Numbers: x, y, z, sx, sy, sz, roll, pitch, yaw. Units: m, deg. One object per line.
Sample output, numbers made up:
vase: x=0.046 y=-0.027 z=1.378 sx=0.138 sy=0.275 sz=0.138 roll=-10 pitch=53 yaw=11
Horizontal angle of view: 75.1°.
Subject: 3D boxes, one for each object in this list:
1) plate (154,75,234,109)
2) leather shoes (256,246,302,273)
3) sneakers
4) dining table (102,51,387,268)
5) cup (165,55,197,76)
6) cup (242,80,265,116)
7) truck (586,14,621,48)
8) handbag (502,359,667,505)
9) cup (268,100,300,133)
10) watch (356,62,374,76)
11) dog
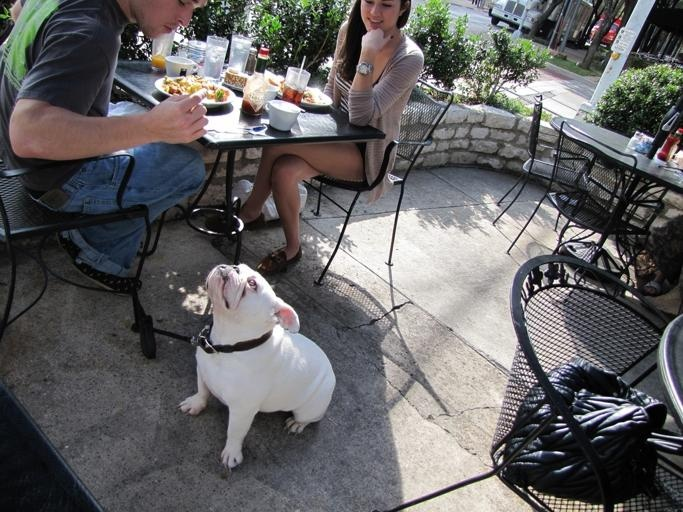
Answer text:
plate: x=-0.844 y=-0.957 z=2.551 sx=0.389 sy=0.068 sz=0.404 roll=-2 pitch=39 yaw=-22
leather shoes: x=-0.473 y=0.042 z=3.355 sx=0.138 sy=0.150 sz=0.370 roll=37 pitch=42 yaw=22
sneakers: x=-1.424 y=0.054 z=2.616 sx=0.361 sy=0.142 sz=0.120 roll=41 pitch=47 yaw=1
dining table: x=-0.659 y=-0.625 z=2.893 sx=1.392 sy=0.879 sz=1.434 roll=2 pitch=39 yaw=-26
cup: x=-0.996 y=-1.159 z=2.773 sx=0.154 sy=0.082 sz=0.131 roll=12 pitch=36 yaw=-14
cup: x=-0.506 y=-0.946 z=2.621 sx=0.143 sy=0.217 sz=0.128 roll=1 pitch=34 yaw=-23
truck: x=13.207 y=-11.347 z=22.190 sx=1.130 sy=1.465 sz=8.846 roll=26 pitch=33 yaw=17
handbag: x=1.008 y=0.688 z=1.723 sx=0.527 sy=0.236 sz=0.557 roll=0 pitch=45 yaw=-27
cup: x=-0.333 y=-0.793 z=2.551 sx=0.185 sy=0.118 sz=0.156 roll=17 pitch=34 yaw=23
watch: x=0.154 y=-1.216 z=2.892 sx=0.091 sy=0.074 sz=0.089 roll=2 pitch=6 yaw=-1
dog: x=-0.364 y=0.446 z=2.248 sx=0.712 sy=0.899 sz=0.531 roll=-11 pitch=31 yaw=-39
